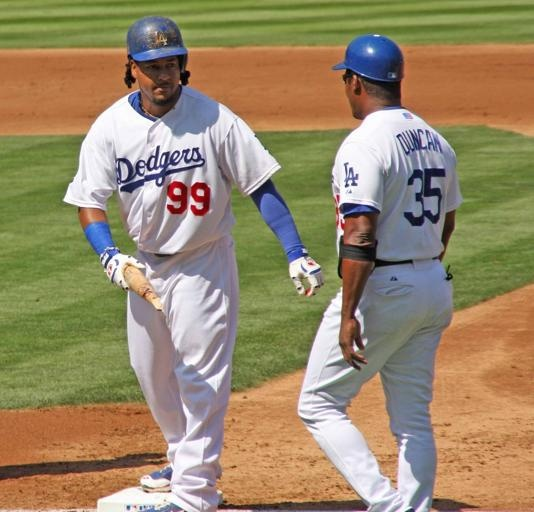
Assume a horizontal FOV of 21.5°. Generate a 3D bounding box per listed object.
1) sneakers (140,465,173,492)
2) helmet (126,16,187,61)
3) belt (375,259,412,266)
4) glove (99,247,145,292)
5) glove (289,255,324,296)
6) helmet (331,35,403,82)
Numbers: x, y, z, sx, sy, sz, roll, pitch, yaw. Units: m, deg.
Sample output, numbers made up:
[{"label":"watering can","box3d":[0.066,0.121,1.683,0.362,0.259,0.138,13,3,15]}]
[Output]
[{"label":"sneakers","box3d":[-0.785,1.472,9.280,0.305,0.115,0.107,1,4,-25]},{"label":"helmet","box3d":[-0.721,-1.422,9.054,0.417,0.238,0.505,-12,21,-17]},{"label":"belt","box3d":[0.787,0.035,8.761,0.232,0.043,0.024,-2,16,1]},{"label":"glove","box3d":[-0.925,0.027,8.913,0.191,0.122,0.279,-44,56,-2]},{"label":"glove","box3d":[0.249,0.112,8.995,0.209,0.250,0.122,-19,4,4]},{"label":"helmet","box3d":[0.657,-1.306,9.010,0.525,0.244,0.395,22,30,38]}]
